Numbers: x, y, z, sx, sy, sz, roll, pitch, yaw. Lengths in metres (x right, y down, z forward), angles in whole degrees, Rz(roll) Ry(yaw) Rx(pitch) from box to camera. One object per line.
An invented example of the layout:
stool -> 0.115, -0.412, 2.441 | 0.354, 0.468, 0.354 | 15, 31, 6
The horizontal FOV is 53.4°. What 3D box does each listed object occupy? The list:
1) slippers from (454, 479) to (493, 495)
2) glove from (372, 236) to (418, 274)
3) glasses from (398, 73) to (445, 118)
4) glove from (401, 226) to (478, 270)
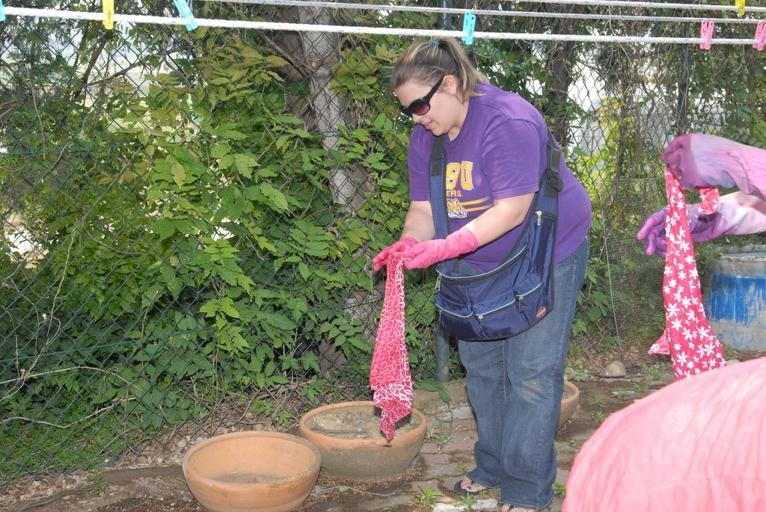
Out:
slippers -> 0.570, 1.426, 4.737 | 0.199, 0.067, 0.102 | 4, 0, -9
glove -> 0.078, 0.007, 4.329 | 0.258, 0.099, 0.144 | -26, 28, -6
glasses -> 0.218, -0.865, 4.095 | 0.205, 0.062, 0.192 | -44, 8, -17
glove -> 0.313, -0.030, 4.077 | 0.426, 0.152, 0.184 | -18, 50, -3
